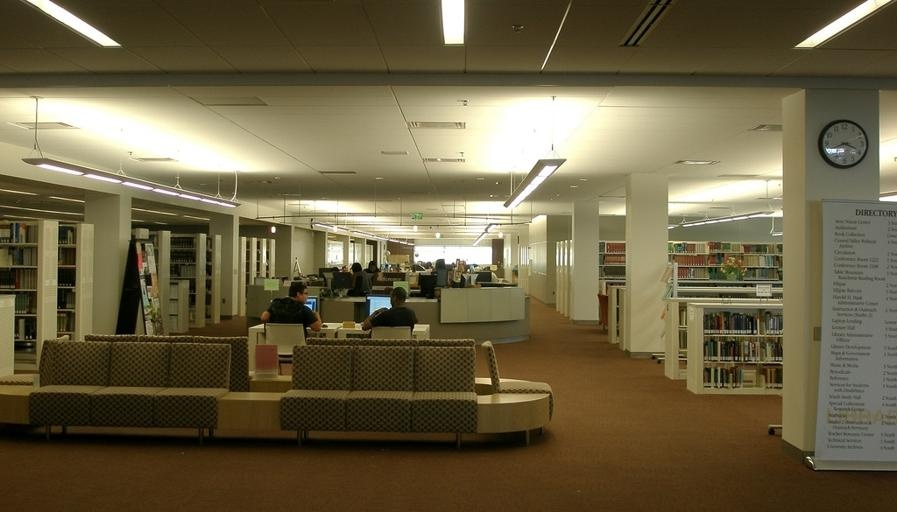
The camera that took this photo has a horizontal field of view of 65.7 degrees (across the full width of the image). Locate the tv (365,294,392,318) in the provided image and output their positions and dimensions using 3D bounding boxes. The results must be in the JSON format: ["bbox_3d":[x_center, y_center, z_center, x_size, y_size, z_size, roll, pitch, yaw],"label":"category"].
[{"bbox_3d":[-1.320,0.958,13.243,0.676,0.559,0.067,1,-4,3],"label":"tv"}]

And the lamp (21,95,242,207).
[{"bbox_3d":[-7.198,-1.900,14.365,2.862,1.041,5.767,0,-4,17],"label":"lamp"}]

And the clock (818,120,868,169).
[{"bbox_3d":[6.026,-1.686,10.662,0.873,0.725,0.115,-1,-8,-1],"label":"clock"}]
